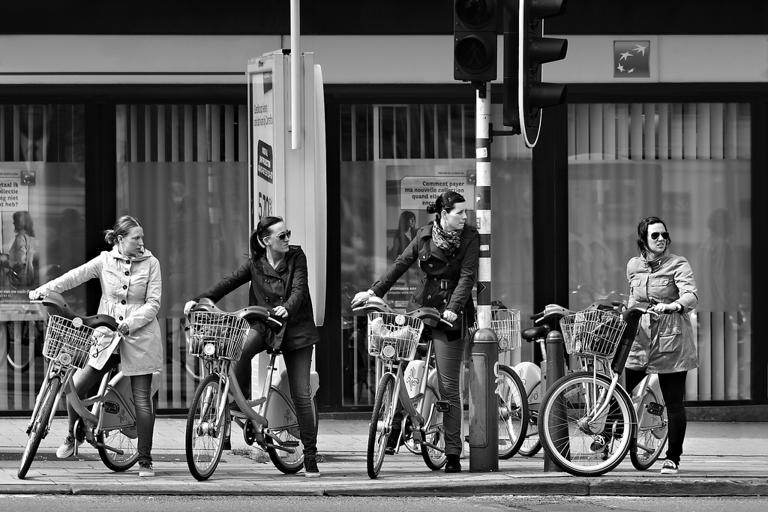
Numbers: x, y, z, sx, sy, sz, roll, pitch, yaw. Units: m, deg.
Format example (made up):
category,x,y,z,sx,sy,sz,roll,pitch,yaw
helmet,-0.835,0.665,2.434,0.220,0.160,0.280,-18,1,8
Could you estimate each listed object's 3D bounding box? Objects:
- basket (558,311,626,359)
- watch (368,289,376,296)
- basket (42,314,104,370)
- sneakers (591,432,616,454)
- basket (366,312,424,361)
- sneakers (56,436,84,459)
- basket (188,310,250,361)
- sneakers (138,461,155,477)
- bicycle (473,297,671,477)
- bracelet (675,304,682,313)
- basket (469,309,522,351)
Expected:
category,x,y,z,sx,sy,sz,roll,pitch,yaw
basket,2.176,0.750,14.534,0.594,0.461,0.377,16,39,0
watch,-0.150,0.403,14.592,0.067,0.074,0.053,-19,29,-4
basket,-3.332,0.856,14.246,0.241,0.308,0.407,16,-3,-38
sneakers,2.285,1.988,14.525,0.246,0.184,0.100,-11,-14,-5
basket,0.167,0.880,14.241,0.639,0.351,0.929,6,11,-4
sneakers,-3.329,2.037,14.543,0.441,0.212,0.158,-2,4,-22
basket,-1.744,0.805,14.165,0.567,0.428,0.397,6,23,7
sneakers,-2.516,2.235,14.362,0.109,0.123,0.305,1,-9,-8
bicycle,2.185,1.426,14.503,1.168,1.760,0.443,0,-1,2
bracelet,3.093,0.562,14.528,0.067,0.069,0.068,-3,-21,6
basket,1.304,0.847,15.758,0.445,0.507,0.530,0,0,44
